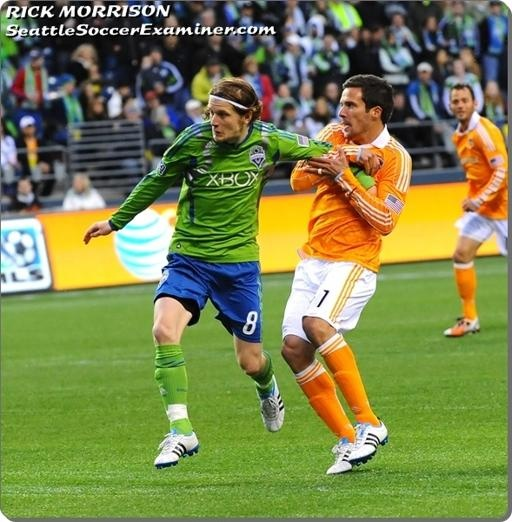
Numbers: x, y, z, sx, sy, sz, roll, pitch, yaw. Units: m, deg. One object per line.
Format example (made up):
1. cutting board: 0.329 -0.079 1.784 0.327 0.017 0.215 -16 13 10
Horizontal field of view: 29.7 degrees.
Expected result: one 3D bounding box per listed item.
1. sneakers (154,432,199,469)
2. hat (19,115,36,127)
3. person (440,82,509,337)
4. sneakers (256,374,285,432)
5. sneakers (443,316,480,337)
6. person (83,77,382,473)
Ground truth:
1. sneakers: -0.455 1.066 5.475 0.127 0.156 0.345 -7 8 35
2. hat: -3.078 -1.875 13.031 0.207 0.174 0.498 -6 12 -13
3. person: 1.932 -0.450 8.528 0.549 2.202 0.824 0 14 14
4. sneakers: 0.118 0.934 6.413 0.150 0.393 0.189 -10 4 16
5. sneakers: 1.863 0.593 8.519 0.390 0.142 0.130 -4 0 -20
6. person: -0.249 0.083 5.896 1.281 2.343 0.896 -12 16 -34
